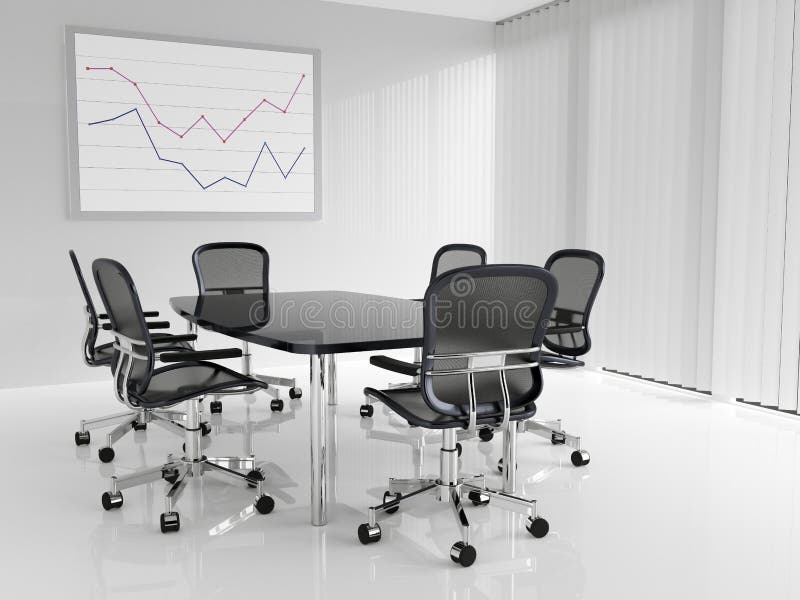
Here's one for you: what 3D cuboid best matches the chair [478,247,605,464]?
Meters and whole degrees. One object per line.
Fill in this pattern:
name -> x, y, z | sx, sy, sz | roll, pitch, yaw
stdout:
chair -> 0.751, 0.500, 4.750 | 0.660, 1.062, 0.651 | -19, 7, -39

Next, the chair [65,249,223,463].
chair -> -1.715, 0.370, 4.931 | 0.879, 1.316, 0.838 | 5, 11, -34

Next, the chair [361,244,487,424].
chair -> 0.016, 0.238, 4.259 | 0.588, 0.979, 0.641 | -4, 25, 11

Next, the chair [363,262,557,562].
chair -> 0.257, 0.510, 3.755 | 0.880, 1.470, 1.028 | 0, 5, -11

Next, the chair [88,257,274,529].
chair -> -1.235, 0.458, 4.098 | 0.949, 1.365, 1.008 | 6, 5, 40
